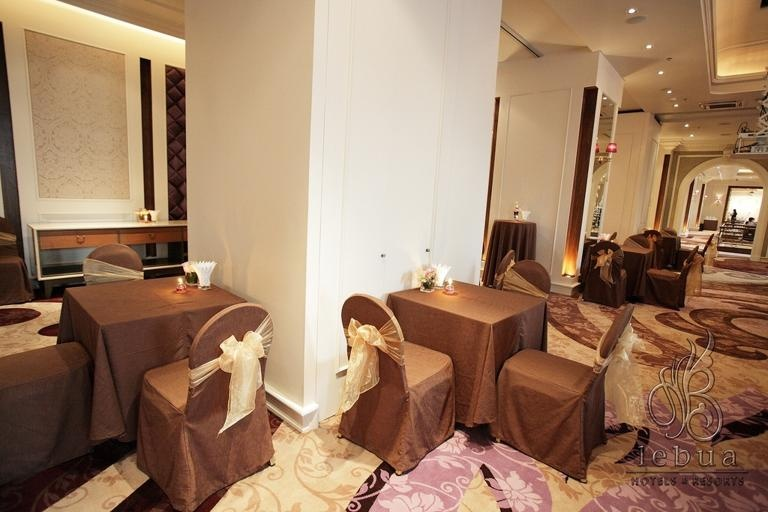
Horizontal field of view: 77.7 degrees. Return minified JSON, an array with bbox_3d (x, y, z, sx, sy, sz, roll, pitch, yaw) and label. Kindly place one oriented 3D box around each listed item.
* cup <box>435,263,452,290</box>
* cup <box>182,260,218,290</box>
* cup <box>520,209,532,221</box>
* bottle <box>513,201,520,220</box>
[{"bbox_3d":[0.700,0.226,5.133,0.205,0.254,0.217,4,0,0],"label":"cup"},{"bbox_3d":[-1.858,0.170,4.825,0.309,0.233,0.268,4,4,34],"label":"cup"},{"bbox_3d":[2.475,-0.709,8.338,0.132,0.183,0.230,6,9,29],"label":"cup"},{"bbox_3d":[2.348,-0.793,8.423,0.130,0.296,0.317,3,8,15],"label":"bottle"}]
